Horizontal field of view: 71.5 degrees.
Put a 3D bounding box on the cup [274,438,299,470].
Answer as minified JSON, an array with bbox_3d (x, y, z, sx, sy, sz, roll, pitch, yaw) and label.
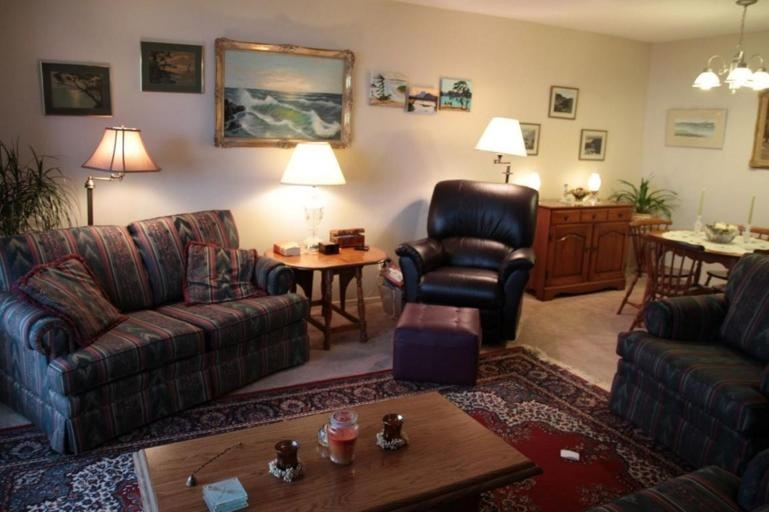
[{"bbox_3d":[-0.514,1.038,2.797,0.129,0.137,0.126,0,16,0],"label":"cup"}]

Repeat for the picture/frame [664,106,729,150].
[{"bbox_3d":[3.993,-1.612,6.756,0.015,0.436,0.613,-14,20,-39],"label":"picture/frame"}]

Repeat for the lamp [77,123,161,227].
[{"bbox_3d":[-2.321,-0.706,4.584,0.655,0.961,0.575,-3,29,-15],"label":"lamp"}]

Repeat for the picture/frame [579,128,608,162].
[{"bbox_3d":[2.676,-1.431,6.877,0.441,0.426,0.032,-4,11,-30],"label":"picture/frame"}]

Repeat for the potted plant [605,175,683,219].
[{"bbox_3d":[3.527,-0.779,7.201,0.671,0.562,0.656,-8,14,-34],"label":"potted plant"}]

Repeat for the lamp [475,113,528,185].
[{"bbox_3d":[1.283,-1.150,5.950,0.488,0.711,0.817,4,14,10],"label":"lamp"}]

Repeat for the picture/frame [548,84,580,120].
[{"bbox_3d":[2.183,-1.887,6.546,0.457,0.411,0.031,-5,14,-28],"label":"picture/frame"}]

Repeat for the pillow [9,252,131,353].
[{"bbox_3d":[-2.157,0.298,3.747,0.551,0.498,0.552,9,16,29],"label":"pillow"}]

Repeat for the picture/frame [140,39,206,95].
[{"bbox_3d":[-1.921,-1.687,4.765,0.552,0.451,0.043,-3,9,-25],"label":"picture/frame"}]

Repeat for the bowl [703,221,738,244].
[{"bbox_3d":[3.329,-0.233,5.276,0.231,0.178,0.342,12,17,36],"label":"bowl"}]

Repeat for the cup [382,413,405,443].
[{"bbox_3d":[0.053,0.944,3.027,0.127,0.150,0.129,1,18,0],"label":"cup"}]

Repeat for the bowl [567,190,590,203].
[{"bbox_3d":[2.374,-0.734,6.536,0.210,0.118,0.207,-1,5,0],"label":"bowl"}]

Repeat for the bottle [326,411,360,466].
[{"bbox_3d":[-0.228,0.979,2.929,0.189,0.245,0.181,1,14,0],"label":"bottle"}]

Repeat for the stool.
[{"bbox_3d":[0.468,0.675,4.414,0.634,0.436,0.624,4,11,9],"label":"stool"}]

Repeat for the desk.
[{"bbox_3d":[-0.543,0.281,5.105,0.987,0.755,1.030,-3,7,-27],"label":"desk"}]

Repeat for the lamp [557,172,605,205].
[{"bbox_3d":[2.440,-0.845,6.704,0.486,0.317,0.239,-3,10,-10],"label":"lamp"}]
